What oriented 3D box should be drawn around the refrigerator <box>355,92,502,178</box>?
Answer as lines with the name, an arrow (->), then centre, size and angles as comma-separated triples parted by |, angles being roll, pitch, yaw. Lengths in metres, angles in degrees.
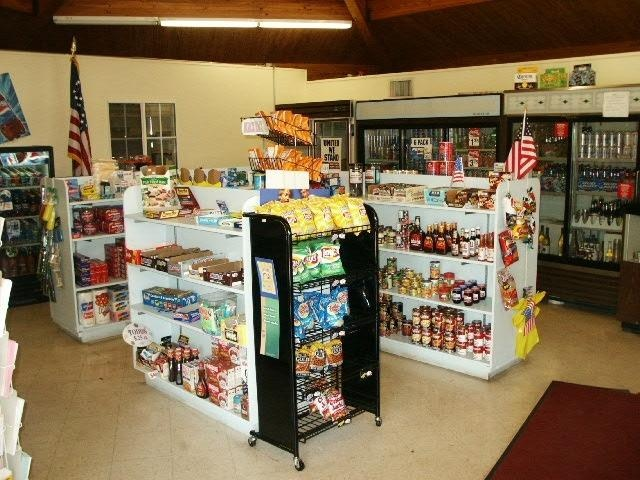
refrigerator -> 1.695, -1.468, 7.977 | 2.424, 1.306, 0.734 | -2, -2, -9

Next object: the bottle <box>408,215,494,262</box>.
bottle -> 1.259, -0.036, 4.983 | 0.996, 0.340, 0.301 | 12, 18, 40

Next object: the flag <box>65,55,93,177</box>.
flag -> -3.570, -1.786, 7.124 | 0.303, 1.683, 0.331 | -9, 16, -25

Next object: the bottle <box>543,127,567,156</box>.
bottle -> 3.272, -1.387, 6.878 | 0.410, 0.445, 0.023 | 13, 20, 42

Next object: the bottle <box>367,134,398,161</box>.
bottle -> 1.058, -1.578, 8.320 | 0.446, 0.401, 0.248 | 14, 20, 42
